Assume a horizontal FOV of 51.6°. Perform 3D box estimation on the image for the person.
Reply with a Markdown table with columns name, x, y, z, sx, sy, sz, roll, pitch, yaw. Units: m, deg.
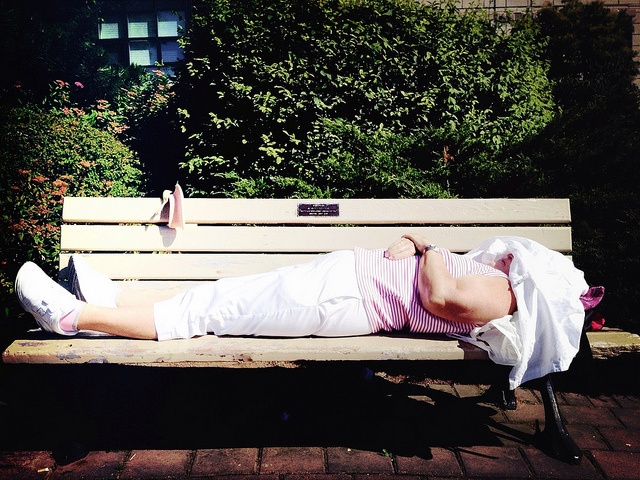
| name | x | y | z | sx | sy | sz | roll | pitch | yaw |
| --- | --- | --- | --- | --- | --- | --- | --- | --- | --- |
| person | -0.349 | 0.418 | 4.587 | 3.237 | 0.702 | 1.175 | -2 | -4 | -5 |
